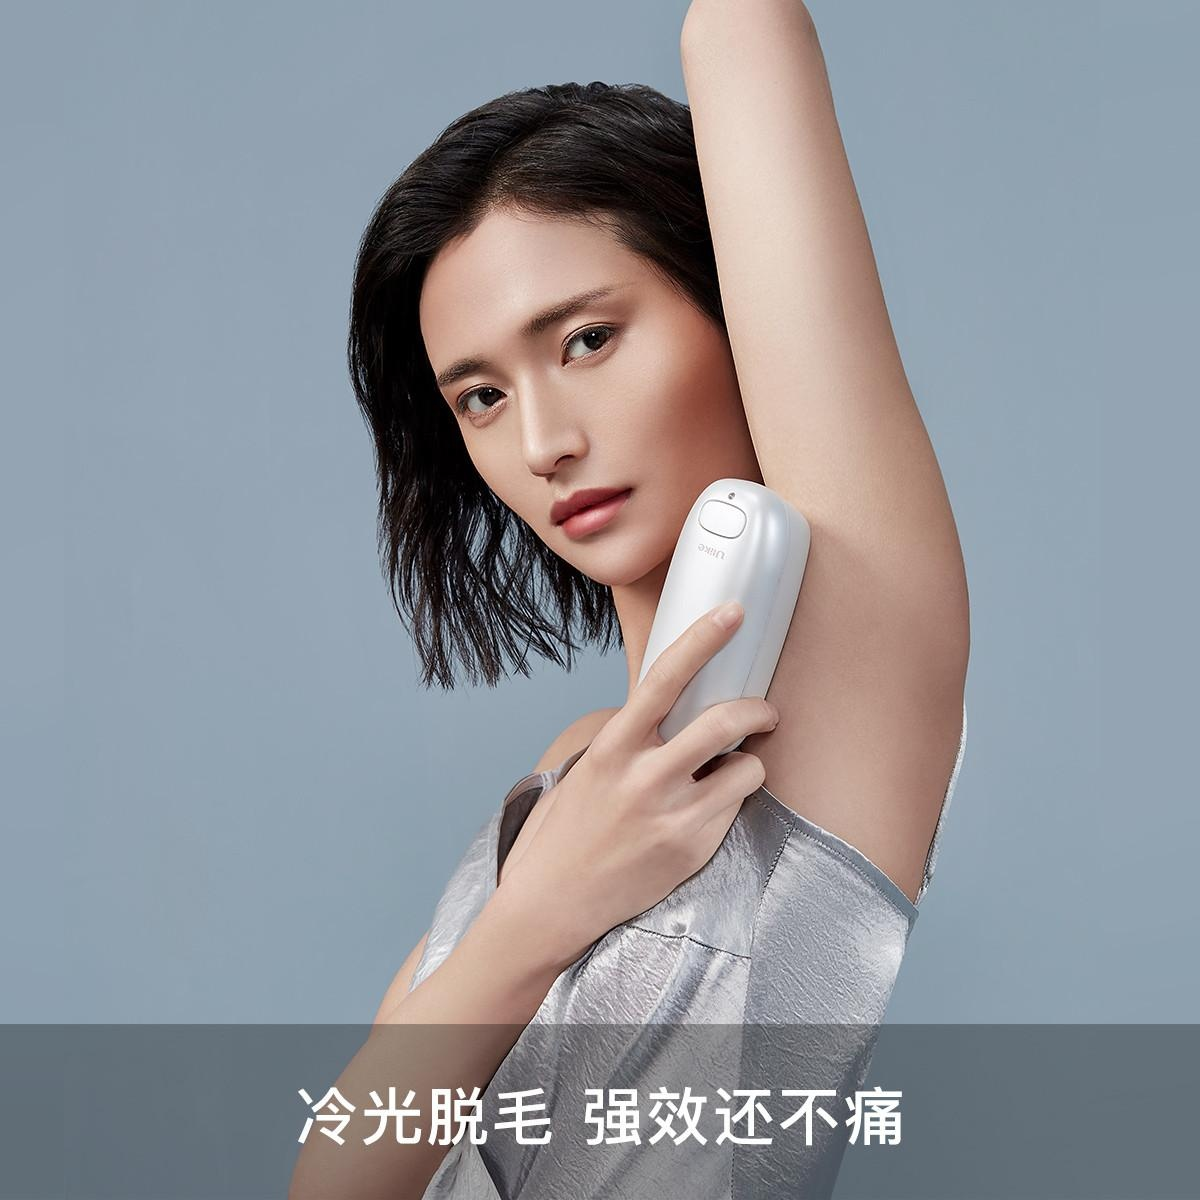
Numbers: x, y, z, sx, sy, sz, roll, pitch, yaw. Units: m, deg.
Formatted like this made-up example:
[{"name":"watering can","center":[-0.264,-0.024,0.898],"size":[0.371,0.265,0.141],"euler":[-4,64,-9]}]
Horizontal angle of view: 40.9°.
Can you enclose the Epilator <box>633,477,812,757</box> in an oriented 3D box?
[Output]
[{"name":"Epilator","center":[0.111,-0.036,1.251],"size":[0.104,0.052,0.179],"euler":[21,36,1]}]

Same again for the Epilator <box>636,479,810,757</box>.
[{"name":"Epilator","center":[0.091,0.014,1.204],"size":[0.114,0.192,0.067],"euler":[23,8,30]}]
